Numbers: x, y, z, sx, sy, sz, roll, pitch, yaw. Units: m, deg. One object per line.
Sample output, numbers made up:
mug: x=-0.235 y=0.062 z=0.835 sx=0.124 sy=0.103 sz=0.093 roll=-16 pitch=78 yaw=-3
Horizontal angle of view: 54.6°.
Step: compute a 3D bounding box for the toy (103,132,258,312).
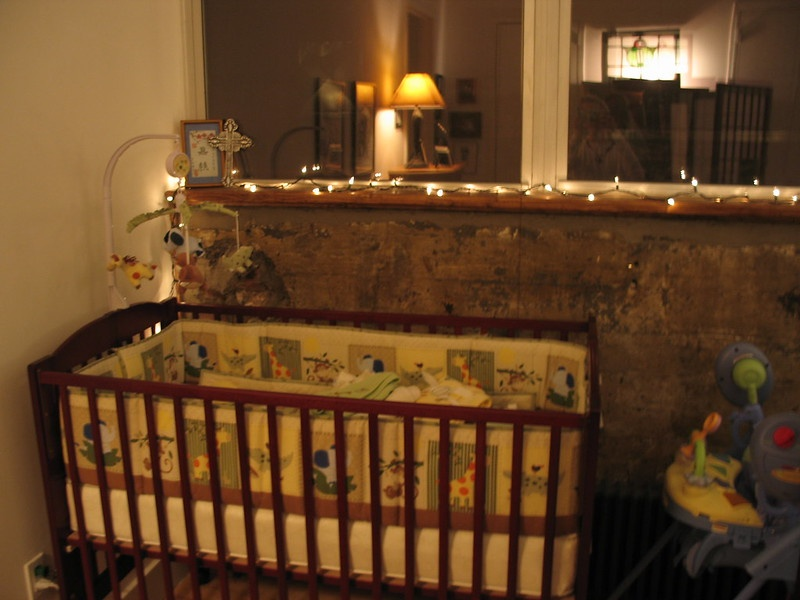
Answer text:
toy: x=-0.920 y=-0.362 z=3.140 sx=0.418 sy=0.630 sz=0.671 roll=0 pitch=15 yaw=10
